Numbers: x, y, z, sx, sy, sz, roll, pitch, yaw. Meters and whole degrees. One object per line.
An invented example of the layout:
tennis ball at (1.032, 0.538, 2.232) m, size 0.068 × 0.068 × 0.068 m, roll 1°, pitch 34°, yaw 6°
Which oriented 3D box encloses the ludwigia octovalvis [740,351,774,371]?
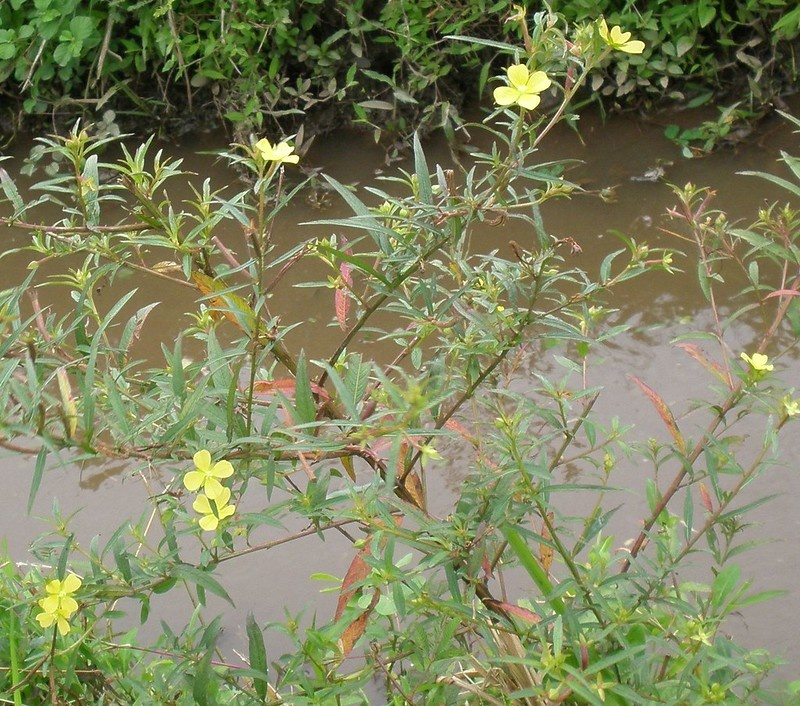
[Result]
ludwigia octovalvis at (0.846, 0.021, 2.162) m, size 0.055 × 0.053 × 0.023 m, roll 28°, pitch -54°, yaw 33°
